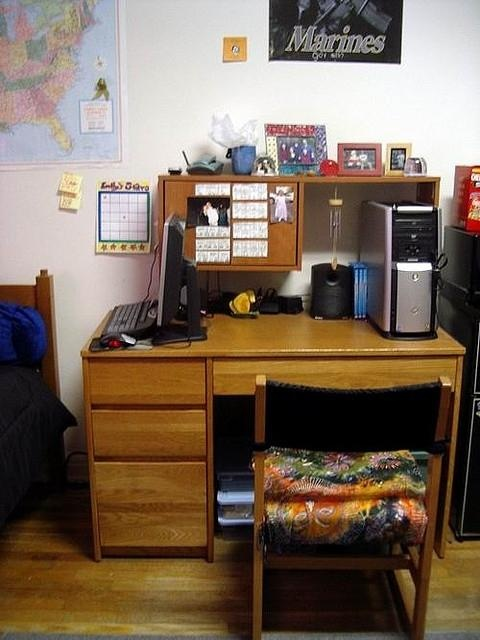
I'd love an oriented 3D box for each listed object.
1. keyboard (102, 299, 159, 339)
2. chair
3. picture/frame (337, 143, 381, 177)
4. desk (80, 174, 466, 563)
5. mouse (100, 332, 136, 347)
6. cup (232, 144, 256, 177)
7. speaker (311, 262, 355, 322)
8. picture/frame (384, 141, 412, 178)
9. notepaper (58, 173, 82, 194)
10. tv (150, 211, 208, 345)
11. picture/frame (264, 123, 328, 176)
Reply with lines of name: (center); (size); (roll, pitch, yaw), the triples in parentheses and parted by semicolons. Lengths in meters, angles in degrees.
keyboard: (-0.372, -0.003, 1.837); (0.127, 0.067, 0.182); (2, 26, -1)
chair: (0.257, 0.471, 1.280); (0.451, 0.766, 0.385); (0, 9, 1)
picture/frame: (0.451, -0.594, 1.972); (0.182, 0.129, 0.128); (0, 9, -1)
desk: (0.118, 0.140, 1.679); (1.177, 1.209, 0.638); (-1, 14, -1)
mouse: (-0.384, 0.061, 1.657); (0.071, 0.026, 0.052); (2, 7, -9)
cup: (0.024, -0.600, 1.982); (0.094, 0.116, 0.101); (3, 22, -1)
speaker: (0.349, -0.108, 2.018); (0.160, 0.252, 0.193); (2, 14, 4)
picture/frame: (0.588, -0.600, 1.974); (0.090, 0.123, 0.072); (3, 9, 16)
notepaper: (-0.676, -0.547, 2.124); (0.095, 0.082, 0.013); (1, 9, 7)
tv: (-0.199, -0.143, 1.791); (0.181, 0.422, 0.427); (1, 10, -1)
picture/frame: (0.204, -0.628, 1.972); (0.208, 0.180, 0.009); (-1, -2, -3)
